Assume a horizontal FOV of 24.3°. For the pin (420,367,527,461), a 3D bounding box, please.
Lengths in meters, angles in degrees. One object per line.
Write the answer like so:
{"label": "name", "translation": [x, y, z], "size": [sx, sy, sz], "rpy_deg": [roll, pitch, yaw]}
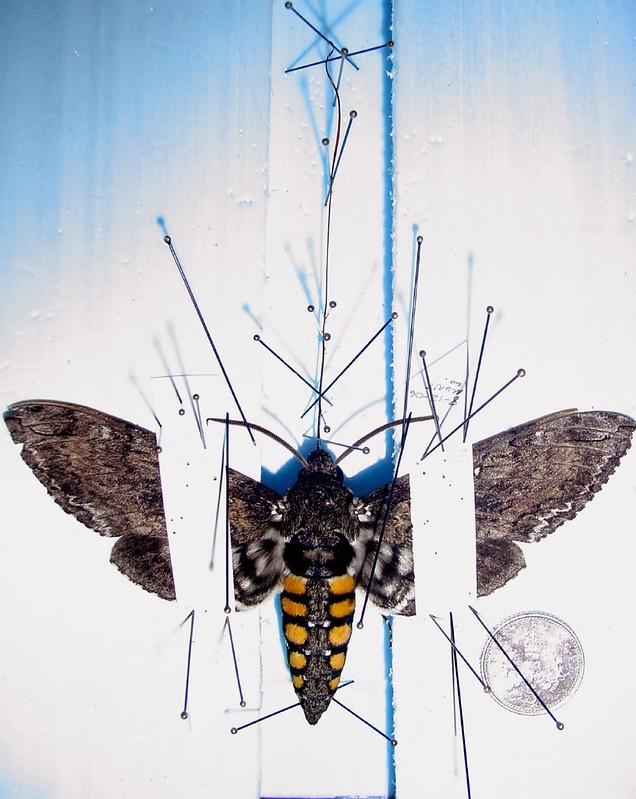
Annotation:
{"label": "pin", "translation": [0.314, 0.032, 2.987], "size": [0.021, 0.217, 0.021], "rpy_deg": [40, -2, 32]}

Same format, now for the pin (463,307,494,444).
{"label": "pin", "translation": [0.323, -0.042, 3.016], "size": [0.014, 0.258, 0.015], "rpy_deg": [13, -1, 17]}

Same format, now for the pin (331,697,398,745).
{"label": "pin", "translation": [0.095, 0.653, 3.002], "size": [0.144, 0.017, 0.022], "rpy_deg": [43, 34, 2]}

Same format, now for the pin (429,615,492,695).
{"label": "pin", "translation": [0.290, 0.513, 2.988], "size": [0.022, 0.174, 0.020], "rpy_deg": [-32, -4, -1]}

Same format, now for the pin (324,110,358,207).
{"label": "pin", "translation": [0.048, -0.503, 3.070], "size": [0.020, 0.203, 0.025], "rpy_deg": [15, 3, 6]}

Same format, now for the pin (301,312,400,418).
{"label": "pin", "translation": [0.070, -0.069, 3.045], "size": [0.019, 0.251, 0.019], "rpy_deg": [39, 10, 25]}

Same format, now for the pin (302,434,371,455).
{"label": "pin", "translation": [0.040, 0.088, 3.026], "size": [0.086, 0.011, 0.015], "rpy_deg": [16, 36, 6]}
